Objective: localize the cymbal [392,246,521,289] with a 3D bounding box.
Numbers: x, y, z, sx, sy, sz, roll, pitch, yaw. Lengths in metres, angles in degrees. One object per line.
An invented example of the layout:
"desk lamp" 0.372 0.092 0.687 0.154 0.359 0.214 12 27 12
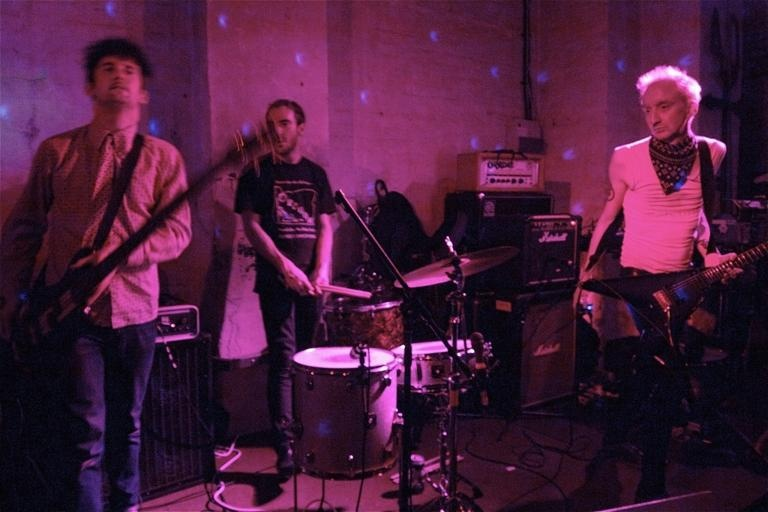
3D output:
"cymbal" 0.409 0.053 3.773 0.396 0.092 0.368 -11 7 -26

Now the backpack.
"backpack" 0.118 -0.199 5.228 0.391 0.701 0.169 -34 13 -33

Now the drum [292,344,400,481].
"drum" -0.214 0.825 3.930 0.661 0.595 0.647 0 1 -38

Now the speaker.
"speaker" 0.998 0.315 5.362 1.049 1.398 1.043 -1 4 1

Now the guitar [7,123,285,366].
"guitar" -0.893 -0.023 2.416 1.136 0.903 0.213 8 17 26

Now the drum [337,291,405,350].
"drum" -0.067 0.410 4.268 0.353 0.318 0.341 -5 7 -32

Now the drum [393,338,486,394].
"drum" 0.293 0.634 4.099 0.429 0.165 0.350 -1 1 -15

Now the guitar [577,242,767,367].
"guitar" 1.569 0.234 3.850 0.969 0.559 0.175 -29 -12 31
